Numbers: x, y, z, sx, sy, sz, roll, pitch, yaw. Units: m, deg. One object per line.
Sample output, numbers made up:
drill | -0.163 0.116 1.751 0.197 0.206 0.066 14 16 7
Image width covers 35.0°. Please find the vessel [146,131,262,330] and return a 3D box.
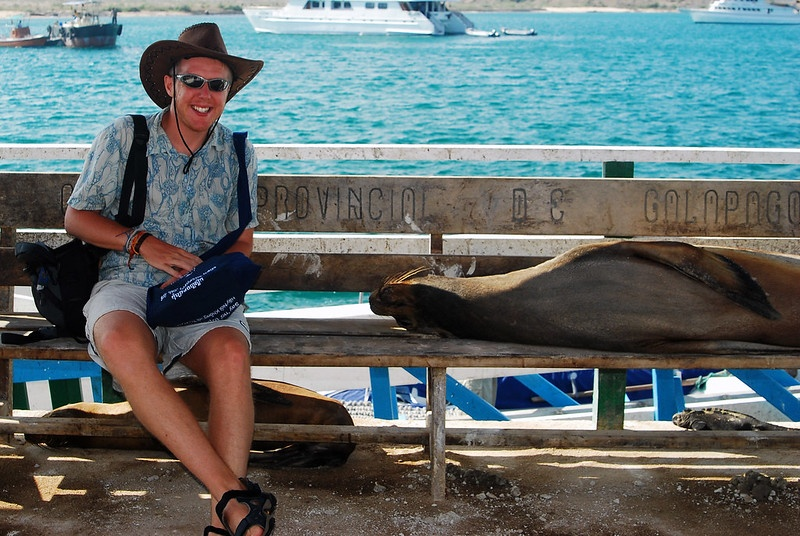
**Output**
vessel | -1.383 -0.214 9.449 0.998 1.319 0.563 -13 16 -40
